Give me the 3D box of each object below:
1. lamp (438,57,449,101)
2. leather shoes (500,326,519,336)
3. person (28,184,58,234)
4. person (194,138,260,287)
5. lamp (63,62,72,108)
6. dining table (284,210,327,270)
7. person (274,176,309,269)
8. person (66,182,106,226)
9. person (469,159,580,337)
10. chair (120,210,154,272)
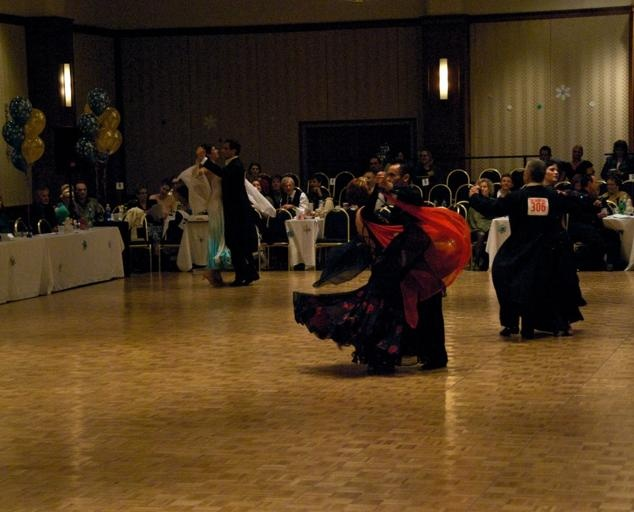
[{"bbox_3d":[2.664,-3.683,12.541,0.218,0.838,0.107,-1,4,5],"label":"lamp"},{"bbox_3d":[1.794,0.694,5.578,0.171,0.076,0.075,-11,27,2],"label":"leather shoes"},{"bbox_3d":[-4.452,-0.692,9.669,0.347,0.889,0.246,-6,33,-39],"label":"person"},{"bbox_3d":[-1.229,-0.607,8.665,0.740,2.091,0.404,-4,5,-30],"label":"person"},{"bbox_3d":[-4.953,-3.365,11.857,0.048,0.849,0.192,2,5,37],"label":"lamp"},{"bbox_3d":[-0.072,-0.214,10.366,0.747,1.032,0.785,0,-4,2],"label":"dining table"},{"bbox_3d":[-0.442,-0.757,10.866,0.561,1.294,0.666,-4,12,-14],"label":"person"},{"bbox_3d":[-4.031,-0.842,10.308,0.608,0.888,0.470,-6,-7,-29],"label":"person"},{"bbox_3d":[1.952,0.054,5.431,0.964,1.363,0.333,-2,4,-11],"label":"person"},{"bbox_3d":[-3.169,-0.291,10.585,0.498,1.135,0.919,-2,4,-9],"label":"chair"}]
